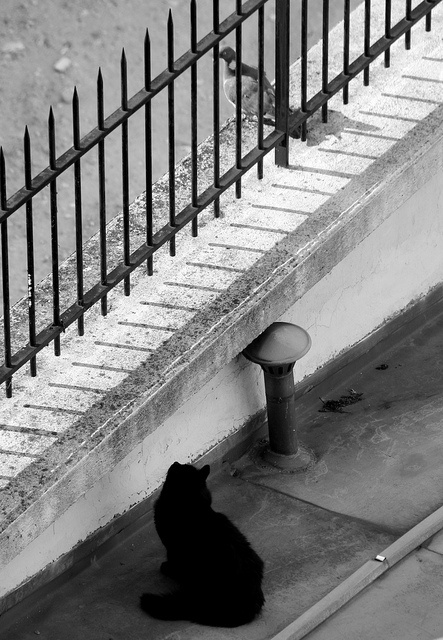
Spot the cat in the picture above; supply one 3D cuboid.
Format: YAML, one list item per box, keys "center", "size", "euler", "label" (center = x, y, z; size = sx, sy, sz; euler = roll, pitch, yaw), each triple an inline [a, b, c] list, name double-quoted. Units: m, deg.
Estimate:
- center: [-0.087, 0.981, 6.598]
  size: [0.469, 0.579, 0.728]
  euler: [3, 32, 9]
  label: "cat"
